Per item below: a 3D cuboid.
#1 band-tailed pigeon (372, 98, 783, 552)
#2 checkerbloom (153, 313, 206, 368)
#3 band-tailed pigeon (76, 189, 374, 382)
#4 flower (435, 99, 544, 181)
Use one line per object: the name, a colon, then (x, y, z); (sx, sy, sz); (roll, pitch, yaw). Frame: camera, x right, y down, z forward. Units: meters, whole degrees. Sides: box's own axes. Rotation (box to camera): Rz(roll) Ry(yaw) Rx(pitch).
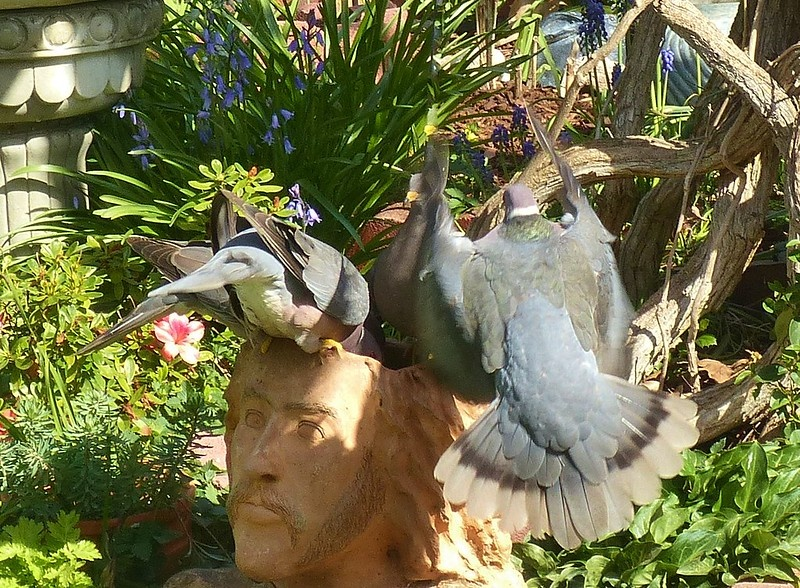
band-tailed pigeon: (0.432, 0.212, 4.348); (1.295, 2.103, 0.603); (1, 12, 10)
checkerbloom: (-0.909, 0.167, 5.742); (0.169, 0.233, 0.280); (6, 24, 17)
band-tailed pigeon: (-0.586, -0.053, 4.477); (0.967, 0.569, 0.961); (-1, 7, 5)
flower: (0.505, -0.782, 7.066); (0.479, 0.570, 0.422); (12, 27, 27)
